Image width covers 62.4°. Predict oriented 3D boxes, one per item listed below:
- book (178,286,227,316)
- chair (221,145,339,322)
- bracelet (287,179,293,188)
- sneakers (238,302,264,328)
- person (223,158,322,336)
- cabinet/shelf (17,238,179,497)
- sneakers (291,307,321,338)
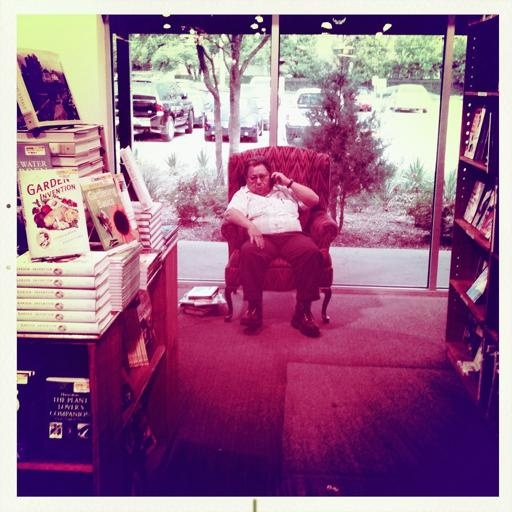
[{"bbox_3d":[-0.424,0.322,3.374,0.379,0.133,0.459,-1,14,-7],"label":"book"},{"bbox_3d":[0.179,-0.139,3.604,0.879,1.356,1.077,0,-7,11],"label":"chair"},{"bbox_3d":[0.256,-0.538,3.120,0.030,0.050,0.046,17,-20,-18],"label":"bracelet"},{"bbox_3d":[-0.022,0.431,2.999,0.089,0.247,0.231,-2,-12,14],"label":"sneakers"},{"bbox_3d":[0.121,-0.112,3.045,0.677,1.153,0.618,2,12,3],"label":"person"},{"bbox_3d":[-0.491,0.456,1.414,0.314,0.831,0.796,1,13,0],"label":"cabinet/shelf"},{"bbox_3d":[0.332,0.443,2.907,0.098,0.201,0.279,-2,9,-29],"label":"sneakers"}]
